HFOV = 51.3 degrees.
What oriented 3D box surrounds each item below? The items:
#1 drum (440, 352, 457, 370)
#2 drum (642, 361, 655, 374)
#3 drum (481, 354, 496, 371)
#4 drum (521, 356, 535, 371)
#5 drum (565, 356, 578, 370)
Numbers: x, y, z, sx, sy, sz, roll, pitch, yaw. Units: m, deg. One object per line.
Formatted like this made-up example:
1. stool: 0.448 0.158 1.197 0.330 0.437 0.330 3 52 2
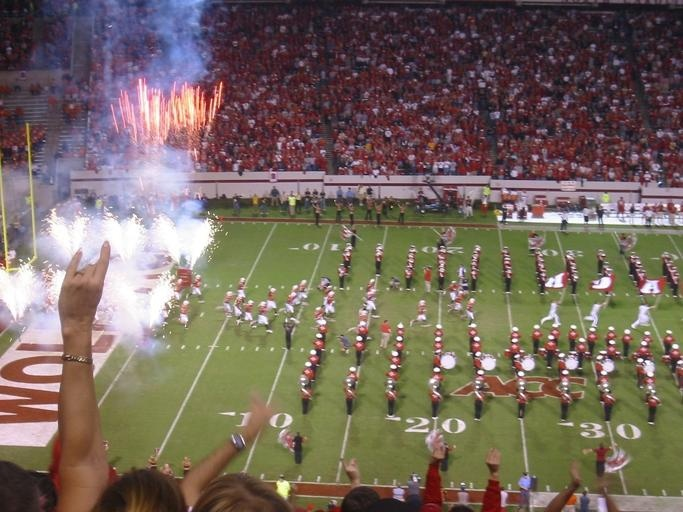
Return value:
1. drum: 3.794 3.724 25.161 0.460 0.582 1.307 3 -12 14
2. drum: 10.315 3.722 23.747 0.279 0.547 0.871 2 -13 18
3. drum: 5.113 3.699 24.635 0.446 0.501 1.291 2 -13 17
4. drum: 6.462 3.708 24.582 0.406 0.507 1.328 3 -13 15
5. drum: 8.007 3.653 24.630 0.364 0.555 1.256 1 -13 20
